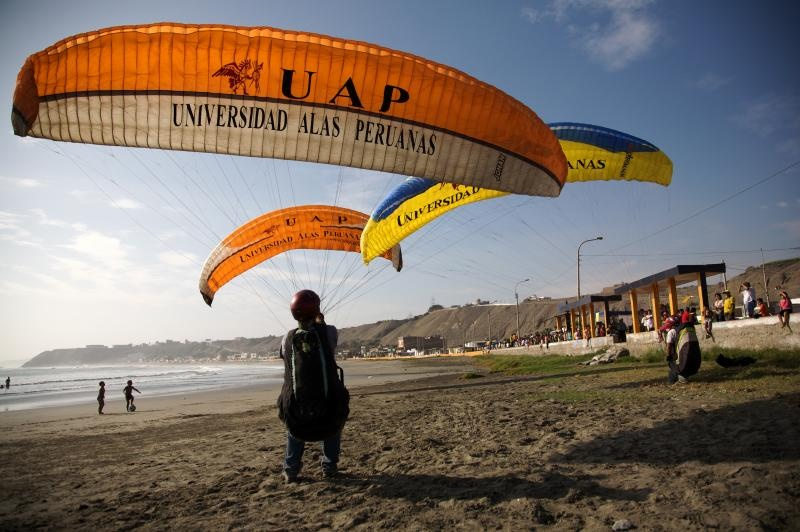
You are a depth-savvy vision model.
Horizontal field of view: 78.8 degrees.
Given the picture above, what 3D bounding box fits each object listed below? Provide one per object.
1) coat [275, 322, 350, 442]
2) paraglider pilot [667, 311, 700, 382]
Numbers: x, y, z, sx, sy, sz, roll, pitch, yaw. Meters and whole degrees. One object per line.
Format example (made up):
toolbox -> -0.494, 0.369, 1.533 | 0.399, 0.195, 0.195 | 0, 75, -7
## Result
coat -> -1.212, 1.614, 6.707 | 0.917, 1.624, 0.613 | -6, -8, -3
paraglider pilot -> 6.486, 1.888, 11.245 | 0.699, 1.540, 1.264 | -10, -9, 27
